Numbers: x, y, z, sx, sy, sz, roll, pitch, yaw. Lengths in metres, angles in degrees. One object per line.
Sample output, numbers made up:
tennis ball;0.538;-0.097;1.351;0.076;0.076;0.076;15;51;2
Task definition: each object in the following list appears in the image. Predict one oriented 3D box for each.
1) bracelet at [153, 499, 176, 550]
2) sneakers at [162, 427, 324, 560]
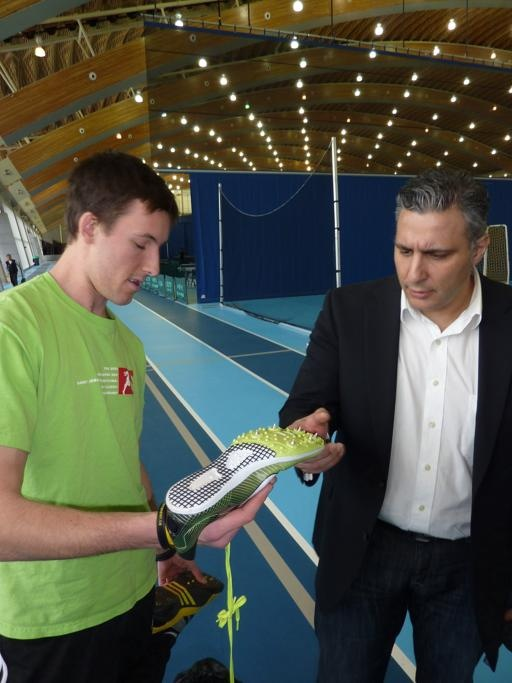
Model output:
bracelet;-0.193;0.394;0.988;0.030;0.113;0.073;-10;15;-18
sneakers;-0.016;0.298;1.193;0.526;0.196;0.186;-23;25;-34
